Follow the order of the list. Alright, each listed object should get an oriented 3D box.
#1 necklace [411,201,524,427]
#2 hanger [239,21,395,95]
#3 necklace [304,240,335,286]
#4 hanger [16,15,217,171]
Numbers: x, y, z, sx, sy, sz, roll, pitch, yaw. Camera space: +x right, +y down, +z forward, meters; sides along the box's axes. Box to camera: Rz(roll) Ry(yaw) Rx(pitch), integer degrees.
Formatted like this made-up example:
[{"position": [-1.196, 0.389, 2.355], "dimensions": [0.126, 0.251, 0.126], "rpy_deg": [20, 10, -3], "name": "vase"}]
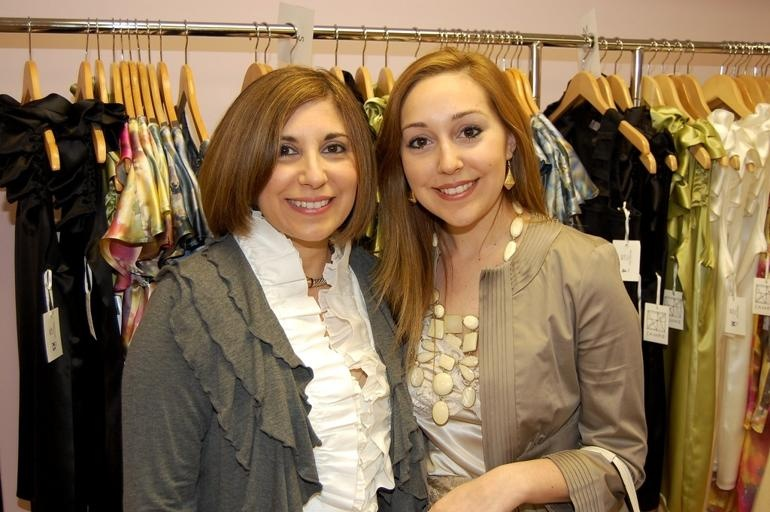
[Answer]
[{"position": [0.236, 0.253, 2.235], "dimensions": [0.409, 0.779, 0.190], "rpy_deg": [-3, -18, 12], "name": "necklace"}, {"position": [-0.250, -0.781, 2.521], "dimensions": [0.455, 0.313, 0.332], "rpy_deg": [-4, 27, -15], "name": "hanger"}, {"position": [-0.227, 0.029, 2.191], "dimensions": [0.102, 0.149, 0.034], "rpy_deg": [11, -5, -33], "name": "necklace"}, {"position": [-1.095, -0.571, 2.520], "dimensions": [0.655, 0.471, 0.728], "rpy_deg": [-4, 18, -16], "name": "hanger"}]
